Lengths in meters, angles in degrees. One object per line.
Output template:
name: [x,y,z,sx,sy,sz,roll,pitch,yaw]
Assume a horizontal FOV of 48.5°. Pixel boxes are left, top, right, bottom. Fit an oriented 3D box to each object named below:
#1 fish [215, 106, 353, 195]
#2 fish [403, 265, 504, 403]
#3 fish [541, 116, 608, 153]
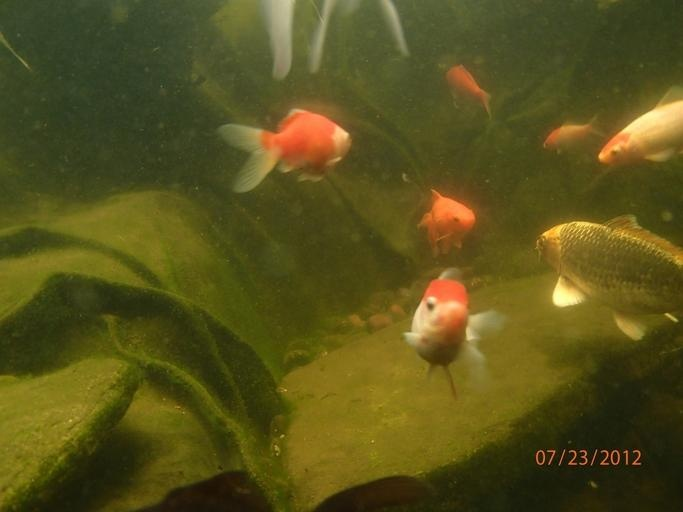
fish: [-0.222,-0.503,3.487,0.609,0.365,0.212,-13,35,-15]
fish: [0.524,0.357,3.460,0.409,0.467,0.529,6,-22,-1]
fish: [1.134,-0.593,3.641,0.255,0.132,0.049,-18,29,18]
